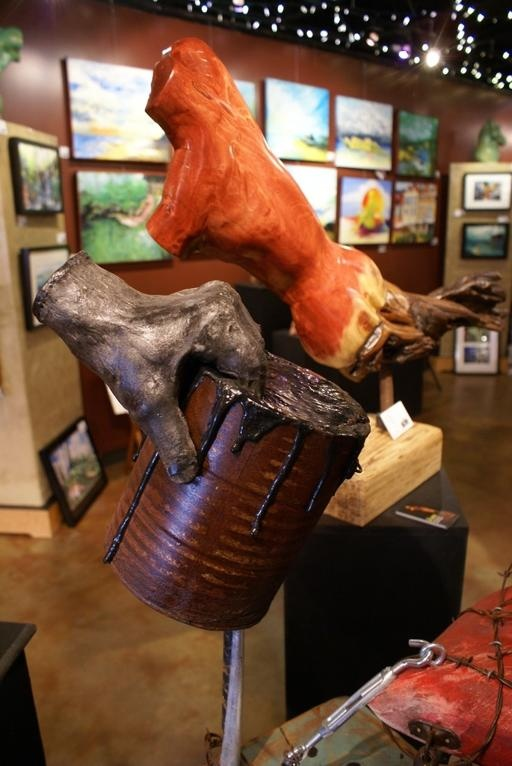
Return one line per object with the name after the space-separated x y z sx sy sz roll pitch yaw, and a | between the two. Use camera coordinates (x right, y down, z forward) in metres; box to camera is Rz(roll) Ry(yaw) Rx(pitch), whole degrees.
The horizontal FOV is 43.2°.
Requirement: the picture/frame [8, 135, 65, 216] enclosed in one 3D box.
-0.286 -0.275 0.846 0.009 0.067 0.066 33 37 26 | picture/frame

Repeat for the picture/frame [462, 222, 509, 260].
0.357 -0.221 0.997 0.057 0.047 0.006 3 27 15 | picture/frame
